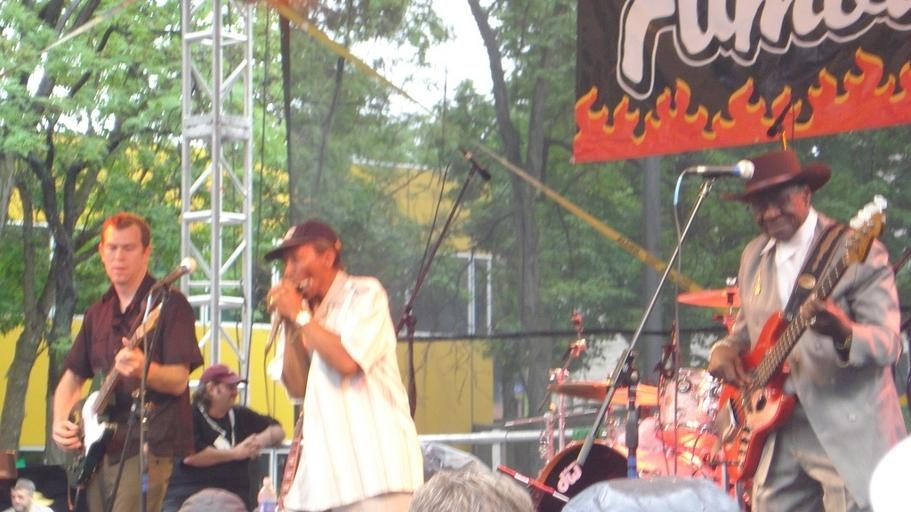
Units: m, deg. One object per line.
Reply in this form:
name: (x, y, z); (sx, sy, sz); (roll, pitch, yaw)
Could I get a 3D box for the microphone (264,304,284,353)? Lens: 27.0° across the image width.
microphone: (-2.256, 0.930, 23.789); (0.132, 0.631, 0.167); (16, -1, 3)

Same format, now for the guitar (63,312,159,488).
guitar: (-4.295, 1.879, 24.067); (0.363, 2.614, 1.003); (15, 24, -38)

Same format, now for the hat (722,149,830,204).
hat: (4.010, -0.966, 23.722); (1.241, 0.610, 0.439); (20, 1, 31)

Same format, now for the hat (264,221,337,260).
hat: (-1.906, -0.211, 23.822); (0.893, 0.482, 0.374); (-2, -9, -1)

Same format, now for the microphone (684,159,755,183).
microphone: (3.152, -1.053, 23.822); (1.068, 0.299, 0.312); (-4, 4, 28)

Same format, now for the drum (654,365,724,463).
drum: (3.094, 2.067, 25.150); (1.170, 1.164, 1.163); (8, -29, 10)

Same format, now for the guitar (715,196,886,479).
guitar: (4.305, 1.149, 23.632); (0.630, 4.376, 1.643); (22, 26, -16)
